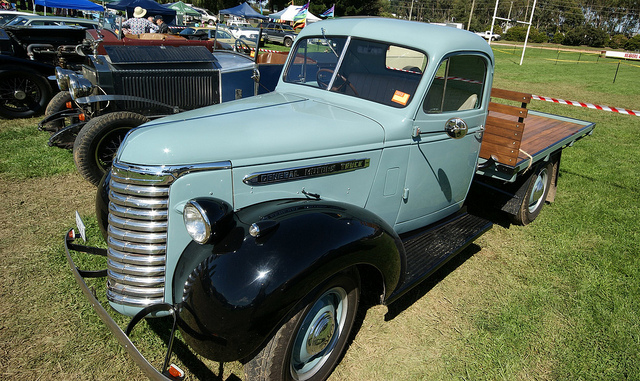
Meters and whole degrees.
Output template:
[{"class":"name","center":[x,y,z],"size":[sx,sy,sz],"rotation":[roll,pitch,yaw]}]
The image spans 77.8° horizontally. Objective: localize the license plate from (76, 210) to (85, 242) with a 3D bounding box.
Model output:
[{"class":"license plate","center":[-3.105,0.481,5.128],"size":[0.020,0.248,0.398],"rotation":[-10,22,-36]}]

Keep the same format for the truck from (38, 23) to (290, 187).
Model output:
[{"class":"truck","center":[-2.835,-2.159,8.845],"size":[3.034,2.346,5.732],"rotation":[26,33,38]}]

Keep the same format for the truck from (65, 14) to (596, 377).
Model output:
[{"class":"truck","center":[-0.176,-0.137,4.647],"size":[4.604,3.555,2.189],"rotation":[-11,29,-33]}]
